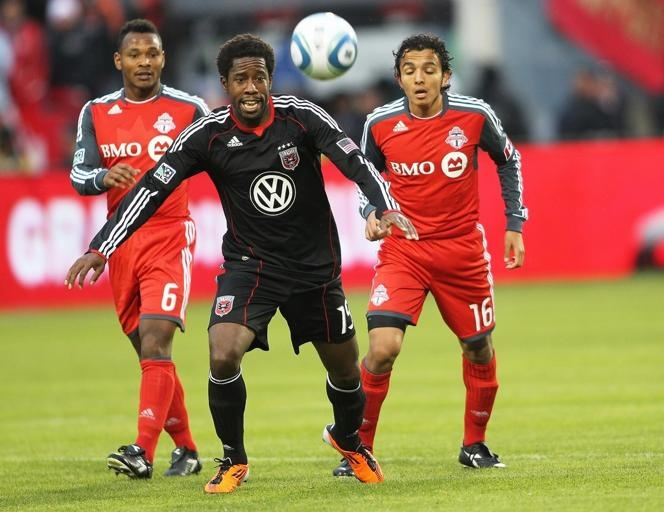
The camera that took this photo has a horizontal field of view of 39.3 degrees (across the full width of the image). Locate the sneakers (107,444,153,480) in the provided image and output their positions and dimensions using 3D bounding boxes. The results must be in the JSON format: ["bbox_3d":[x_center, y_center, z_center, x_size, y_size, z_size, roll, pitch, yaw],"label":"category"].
[{"bbox_3d":[-1.360,1.365,6.169,0.144,0.202,0.393,-5,-29,31],"label":"sneakers"}]

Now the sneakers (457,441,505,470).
[{"bbox_3d":[1.014,1.389,6.430,0.333,0.138,0.131,1,-3,29],"label":"sneakers"}]

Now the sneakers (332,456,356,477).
[{"bbox_3d":[0.078,1.458,6.355,0.154,0.102,0.081,-2,-6,40],"label":"sneakers"}]

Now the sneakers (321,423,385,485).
[{"bbox_3d":[0.151,1.310,6.200,0.198,0.536,0.207,-47,8,-15],"label":"sneakers"}]

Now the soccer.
[{"bbox_3d":[-0.040,-1.724,7.817,0.618,0.571,0.567,0,6,4],"label":"soccer"}]
